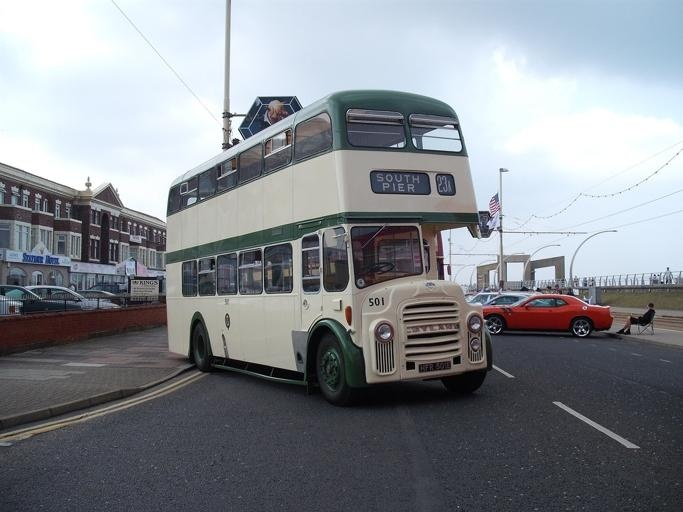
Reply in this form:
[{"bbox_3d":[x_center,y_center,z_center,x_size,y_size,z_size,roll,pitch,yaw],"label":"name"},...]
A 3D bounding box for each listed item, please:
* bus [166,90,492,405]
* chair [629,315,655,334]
[{"bbox_3d":[-1.590,0.047,11.755,2.802,5.884,10.611,2,-5,-43],"label":"bus"},{"bbox_3d":[15.458,3.560,24.491,0.951,1.421,0.775,2,-7,5],"label":"chair"}]
